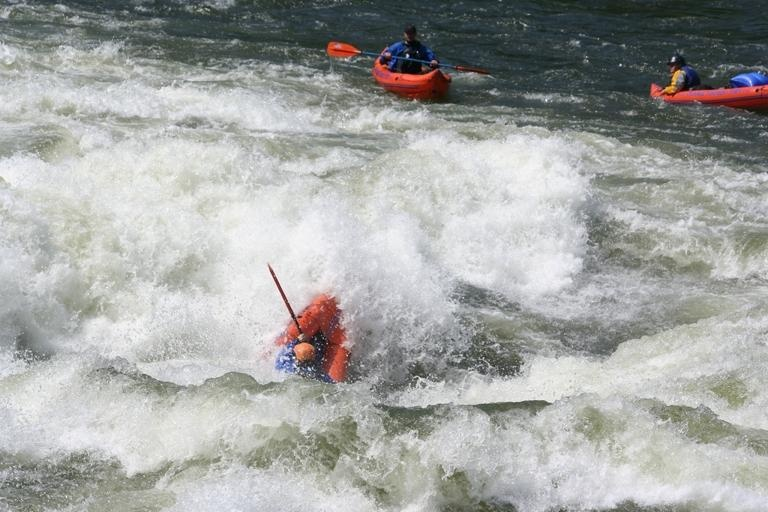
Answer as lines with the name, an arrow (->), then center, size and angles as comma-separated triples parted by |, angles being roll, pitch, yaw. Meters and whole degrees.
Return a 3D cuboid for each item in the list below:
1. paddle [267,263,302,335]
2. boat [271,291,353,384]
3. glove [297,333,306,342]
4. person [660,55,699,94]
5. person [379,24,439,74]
paddle -> -1.761, 0.820, 24.188 | 0.154, 1.412, 0.150 | -31, 3, -1
boat -> -1.185, 1.465, 23.863 | 1.327, 0.685, 1.770 | 22, 37, 1
glove -> -1.402, 1.411, 23.441 | 0.123, 0.112, 0.119 | -7, 20, 4
person -> 6.638, -4.062, 30.320 | 0.566, 0.932, 0.747 | 3, 42, 42
person -> 0.580, -4.639, 30.510 | 0.927, 0.736, 1.482 | -1, 13, -4
